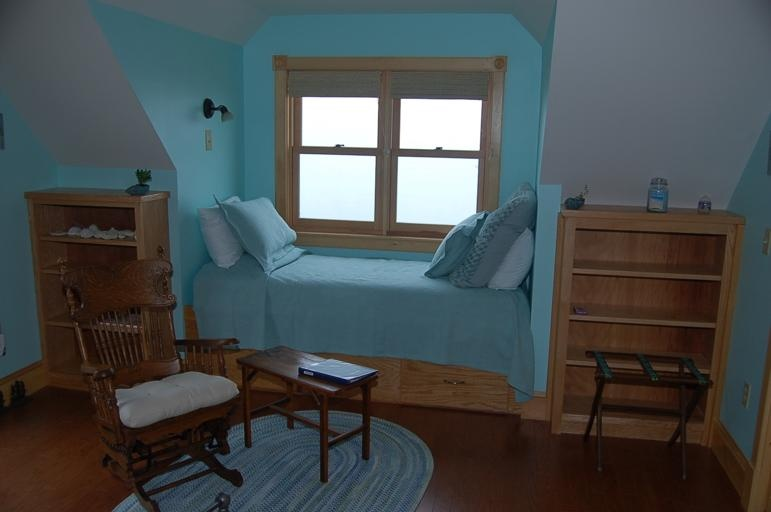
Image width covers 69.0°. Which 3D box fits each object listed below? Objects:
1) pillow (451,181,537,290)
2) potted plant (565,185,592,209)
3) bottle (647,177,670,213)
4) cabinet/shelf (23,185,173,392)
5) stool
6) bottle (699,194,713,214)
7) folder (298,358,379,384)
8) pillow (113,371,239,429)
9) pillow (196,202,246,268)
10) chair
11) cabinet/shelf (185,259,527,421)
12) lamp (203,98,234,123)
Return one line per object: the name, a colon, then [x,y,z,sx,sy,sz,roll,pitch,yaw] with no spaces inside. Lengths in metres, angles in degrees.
pillow: [0.821,-0.107,4.278,0.215,0.693,0.698,29,-3,-5]
potted plant: [1.416,-0.435,4.134,0.233,0.208,0.139,-4,6,-15]
bottle: [1.970,-0.449,4.072,0.141,0.240,0.266,5,12,25]
cabinet/shelf: [-2.418,0.145,4.666,0.787,1.188,0.305,-3,11,-22]
stool: [1.846,0.944,4.093,1.025,0.861,0.776,2,8,16]
bottle: [2.281,-0.367,4.031,0.092,0.125,0.129,1,1,16]
folder: [-0.335,0.767,3.690,0.500,0.075,0.245,3,11,16]
pillow: [-1.311,0.889,3.551,0.700,0.178,0.355,-5,12,-27]
pillow: [-1.379,-0.148,4.648,0.144,0.459,0.477,-20,-2,31]
chair: [-1.481,0.791,3.631,1.292,1.422,0.795,8,14,35]
cabinet/shelf: [-0.116,0.543,4.601,2.133,0.672,1.230,3,15,11]
lamp: [-1.414,-1.225,4.728,0.220,0.213,0.159,-2,21,8]
